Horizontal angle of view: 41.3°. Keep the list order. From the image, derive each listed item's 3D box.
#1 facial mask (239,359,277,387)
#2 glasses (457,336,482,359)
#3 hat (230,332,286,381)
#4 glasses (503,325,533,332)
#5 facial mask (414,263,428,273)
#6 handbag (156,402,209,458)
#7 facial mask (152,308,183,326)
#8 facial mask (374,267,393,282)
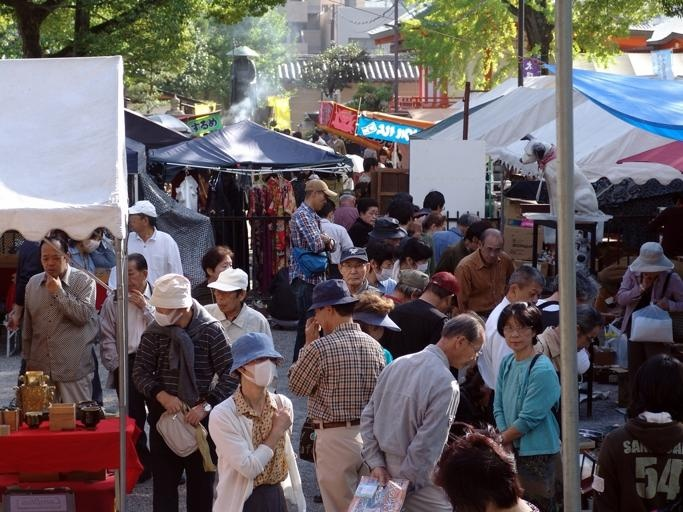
[{"bbox_3d":[-0.640,0.915,7.113,0.189,0.193,0.224,4,-20,-35],"label":"facial mask"},{"bbox_3d":[1.024,0.744,7.155,0.130,0.090,0.180,7,20,-10],"label":"glasses"},{"bbox_3d":[-0.673,0.757,7.150,0.377,0.316,0.342,-1,12,-14],"label":"hat"},{"bbox_3d":[1.545,0.627,7.915,0.248,0.074,0.084,0,-1,7],"label":"glasses"},{"bbox_3d":[0.979,0.125,11.040,0.118,0.113,0.127,-3,3,9],"label":"facial mask"},{"bbox_3d":[-1.433,1.577,8.045,0.427,0.400,0.135,0,0,-11],"label":"handbag"},{"bbox_3d":[-1.546,0.549,8.052,0.262,0.146,0.147,0,-1,1],"label":"facial mask"},{"bbox_3d":[0.499,0.210,10.569,0.134,0.128,0.144,-2,-1,10],"label":"facial mask"}]
